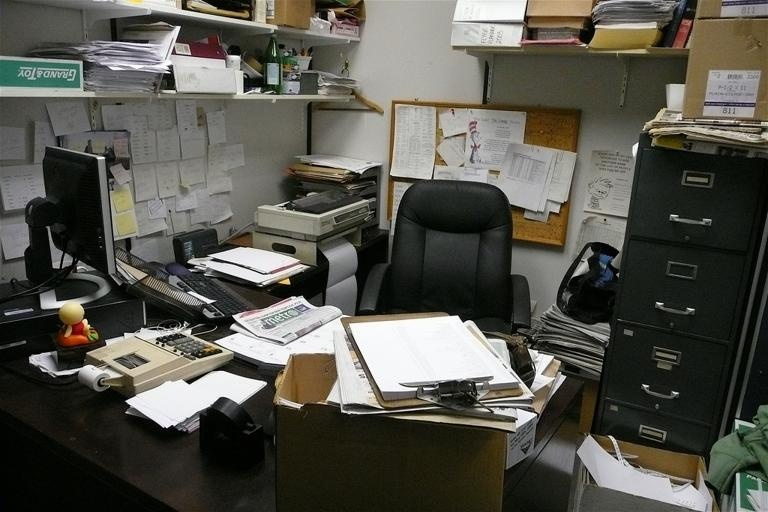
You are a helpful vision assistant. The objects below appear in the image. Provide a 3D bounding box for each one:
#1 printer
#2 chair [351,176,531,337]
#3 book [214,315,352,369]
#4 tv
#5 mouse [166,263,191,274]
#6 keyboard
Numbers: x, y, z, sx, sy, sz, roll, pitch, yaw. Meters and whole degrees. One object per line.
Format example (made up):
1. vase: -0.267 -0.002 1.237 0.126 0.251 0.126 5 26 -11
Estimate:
1. printer: -0.453 -0.259 3.006 0.475 0.269 0.543 12 21 24
2. chair: 0.360 -0.025 3.130 0.861 0.997 0.861 4 22 6
3. book: -0.397 0.349 2.101 0.311 0.033 0.282 9 17 22
4. tv: -1.243 -0.098 2.088 0.547 0.507 0.290 24 27 34
5. mouse: -1.006 0.051 2.577 0.093 0.022 0.057 31 28 31
6. keyboard: -0.757 0.186 2.366 0.350 0.036 0.204 32 30 35
